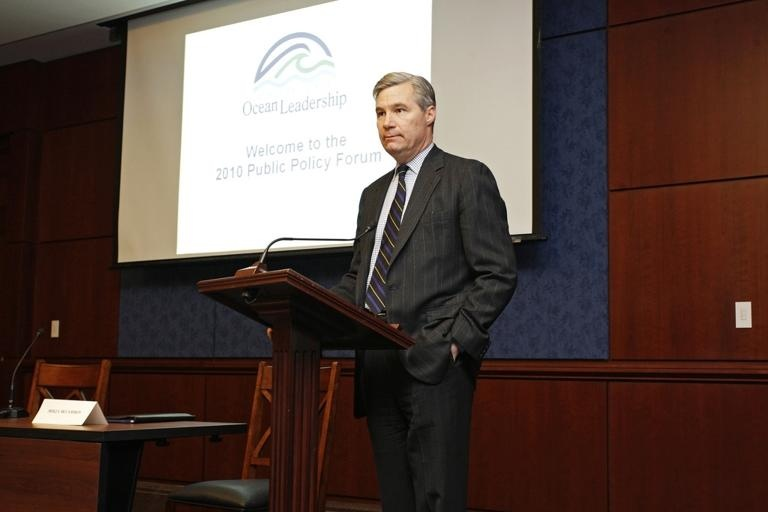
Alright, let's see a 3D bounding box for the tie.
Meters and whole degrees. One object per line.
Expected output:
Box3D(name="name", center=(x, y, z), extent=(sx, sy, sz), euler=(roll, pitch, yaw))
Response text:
Box3D(name="tie", center=(0.052, -0.087, 3.426), extent=(0.137, 0.669, 0.052), euler=(-1, -20, 45))
